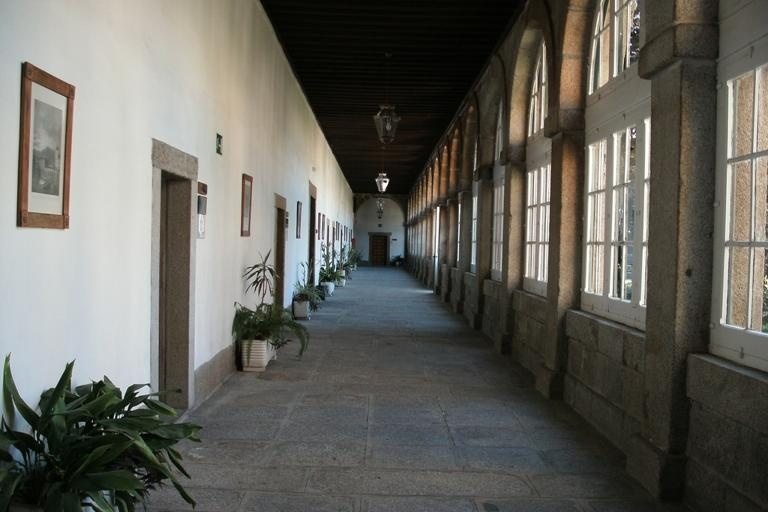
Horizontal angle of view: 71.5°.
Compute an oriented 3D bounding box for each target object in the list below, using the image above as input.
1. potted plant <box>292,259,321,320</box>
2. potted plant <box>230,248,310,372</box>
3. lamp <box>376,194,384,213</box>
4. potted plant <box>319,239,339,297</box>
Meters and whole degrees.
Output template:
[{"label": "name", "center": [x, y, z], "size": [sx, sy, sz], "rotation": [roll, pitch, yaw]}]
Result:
[{"label": "potted plant", "center": [-1.694, 0.747, 11.261], "size": [0.685, 0.990, 0.594], "rotation": [16, 15, 38]}, {"label": "potted plant", "center": [-1.587, 0.762, 7.200], "size": [0.949, 1.350, 1.183], "rotation": [8, 5, 0]}, {"label": "lamp", "center": [-0.232, -2.621, 29.746], "size": [0.428, 1.567, 0.492], "rotation": [0, 20, 0]}, {"label": "potted plant", "center": [-1.735, 0.386, 16.015], "size": [0.621, 1.608, 0.545], "rotation": [1, 7, -44]}]
